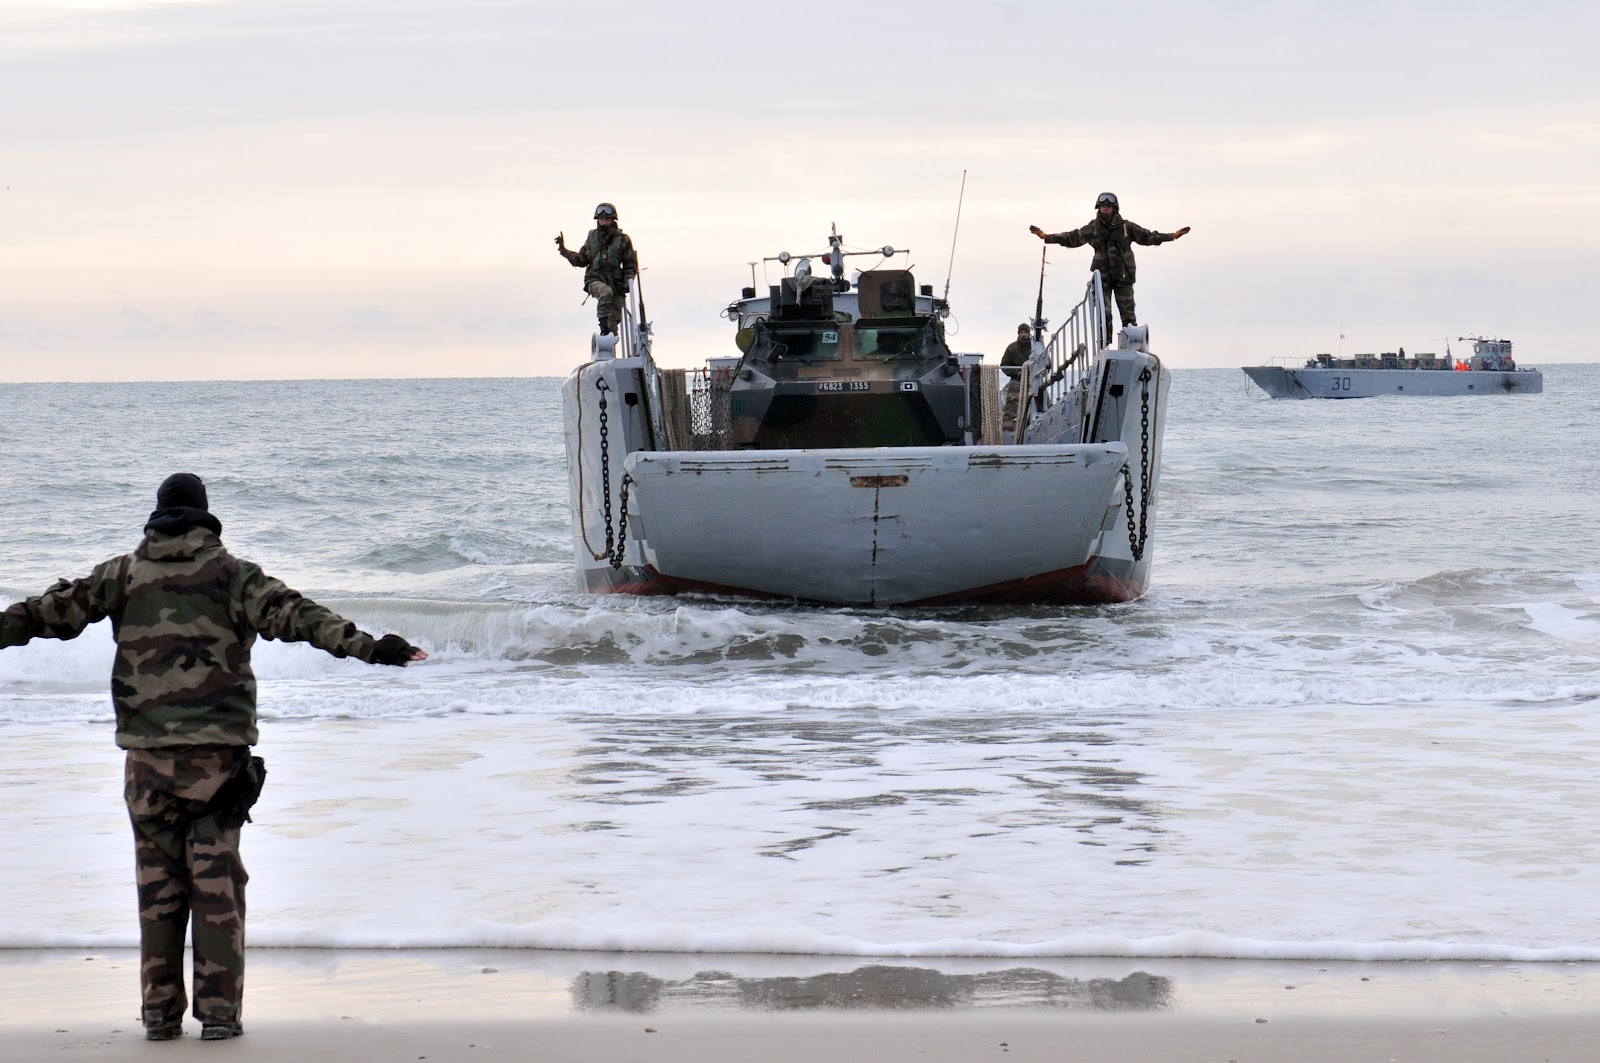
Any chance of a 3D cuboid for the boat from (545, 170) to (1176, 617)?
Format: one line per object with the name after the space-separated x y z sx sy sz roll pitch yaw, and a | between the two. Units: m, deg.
0.563 -0.716 32.419 5.790 2.482 7.879 0 0 2 | boat
